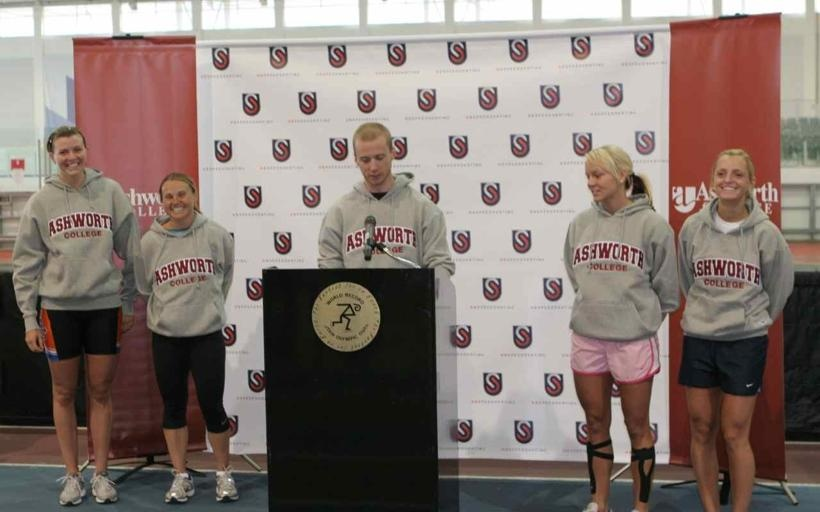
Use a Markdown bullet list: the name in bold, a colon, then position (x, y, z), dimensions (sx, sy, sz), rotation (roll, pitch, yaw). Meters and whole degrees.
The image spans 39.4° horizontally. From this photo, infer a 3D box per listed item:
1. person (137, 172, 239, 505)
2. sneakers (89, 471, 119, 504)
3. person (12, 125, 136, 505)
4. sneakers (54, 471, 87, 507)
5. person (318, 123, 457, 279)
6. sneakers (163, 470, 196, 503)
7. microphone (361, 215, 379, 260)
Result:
- **person**: position (-1.775, 0.659, 9.157), dimensions (0.761, 2.627, 0.344), rotation (-2, 3, -14)
- **sneakers**: position (-2.471, 1.862, 9.234), dimensions (0.208, 0.232, 0.232), rotation (-3, 3, -17)
- **person**: position (-2.668, 0.476, 9.222), dimensions (0.986, 3.009, 0.423), rotation (-3, 3, -17)
- **sneakers**: position (-2.737, 1.888, 9.205), dimensions (0.206, 0.202, 0.424), rotation (0, -7, -13)
- **person**: position (-0.240, -0.287, 8.720), dimensions (0.972, 1.418, 0.766), rotation (-4, 0, 5)
- **sneakers**: position (-1.861, 1.870, 9.155), dimensions (0.138, 0.178, 0.311), rotation (-1, -12, -1)
- **microphone**: position (-0.290, -0.121, 8.183), dimensions (0.092, 0.316, 0.256), rotation (-2, 3, -3)
